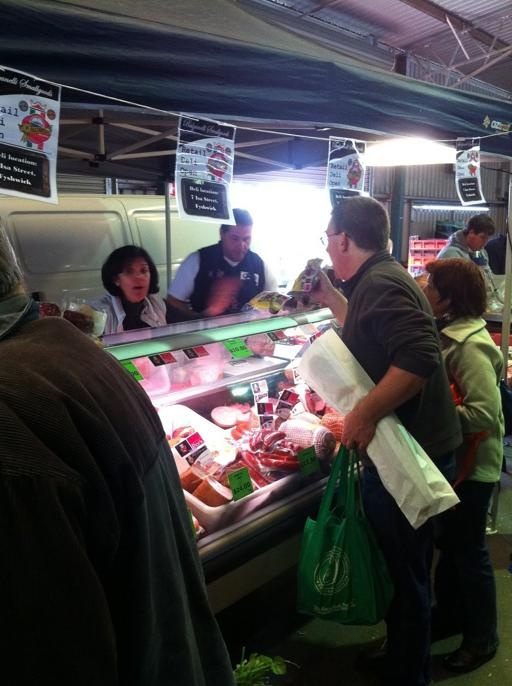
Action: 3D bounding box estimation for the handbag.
[{"bbox_3d":[0.348,0.759,1.862,0.357,0.725,0.254,0,7,9],"label":"handbag"}]

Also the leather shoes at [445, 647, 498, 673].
[{"bbox_3d":[1.004,1.442,2.200,0.227,0.090,0.088,-2,5,-15],"label":"leather shoes"}]
